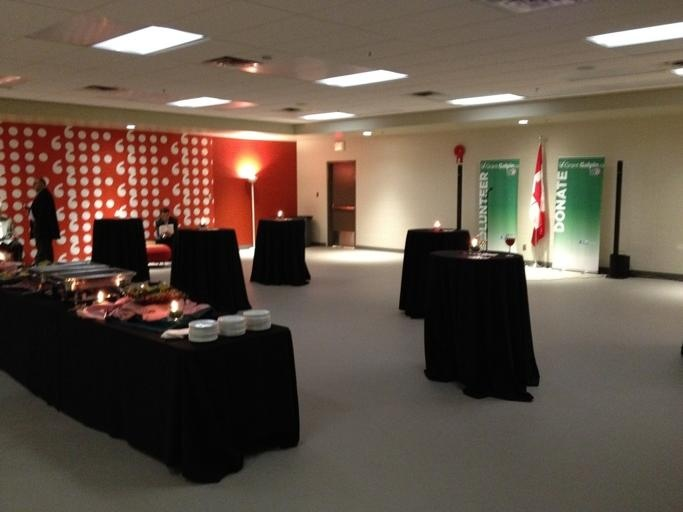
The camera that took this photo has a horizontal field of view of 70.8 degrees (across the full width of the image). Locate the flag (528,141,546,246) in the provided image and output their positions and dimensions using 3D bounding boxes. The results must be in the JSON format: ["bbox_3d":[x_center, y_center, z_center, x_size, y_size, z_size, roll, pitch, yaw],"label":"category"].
[{"bbox_3d":[4.359,-1.330,10.577,0.457,2.306,0.309,-6,9,-37],"label":"flag"}]

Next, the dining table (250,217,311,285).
[{"bbox_3d":[-1.291,-0.098,9.280,1.073,1.355,1.105,4,4,41],"label":"dining table"}]

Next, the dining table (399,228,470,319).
[{"bbox_3d":[1.156,0.216,6.734,1.051,1.428,1.112,0,5,-4],"label":"dining table"}]

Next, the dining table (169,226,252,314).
[{"bbox_3d":[-2.054,0.328,7.475,1.179,1.298,1.218,-9,-5,12],"label":"dining table"}]

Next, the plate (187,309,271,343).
[{"bbox_3d":[-0.738,0.452,3.213,0.557,0.130,0.276,-3,9,-19],"label":"plate"}]

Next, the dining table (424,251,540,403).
[{"bbox_3d":[1.309,0.403,4.562,1.002,1.402,1.293,1,29,27],"label":"dining table"}]

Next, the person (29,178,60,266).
[{"bbox_3d":[-5.797,-0.683,9.322,0.477,1.599,0.693,-5,9,-34],"label":"person"}]
